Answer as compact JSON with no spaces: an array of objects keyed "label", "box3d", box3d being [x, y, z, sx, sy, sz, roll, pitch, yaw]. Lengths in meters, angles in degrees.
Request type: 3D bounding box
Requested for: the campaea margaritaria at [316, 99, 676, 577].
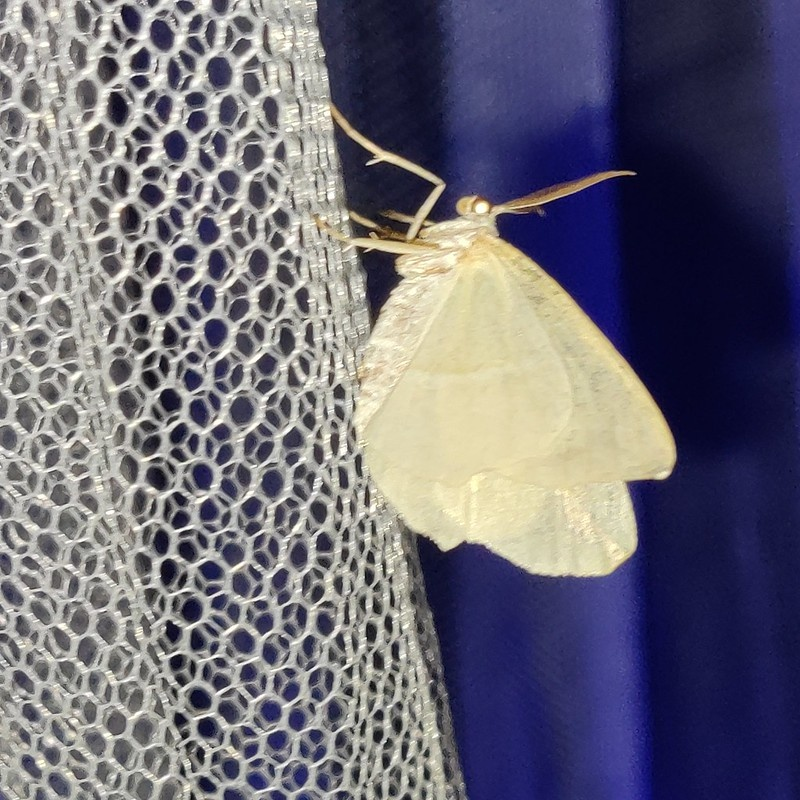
[{"label":"campaea margaritaria","box3d":[0.045,-0.041,1.039,0.334,0.303,0.098,-7,2,-27]}]
